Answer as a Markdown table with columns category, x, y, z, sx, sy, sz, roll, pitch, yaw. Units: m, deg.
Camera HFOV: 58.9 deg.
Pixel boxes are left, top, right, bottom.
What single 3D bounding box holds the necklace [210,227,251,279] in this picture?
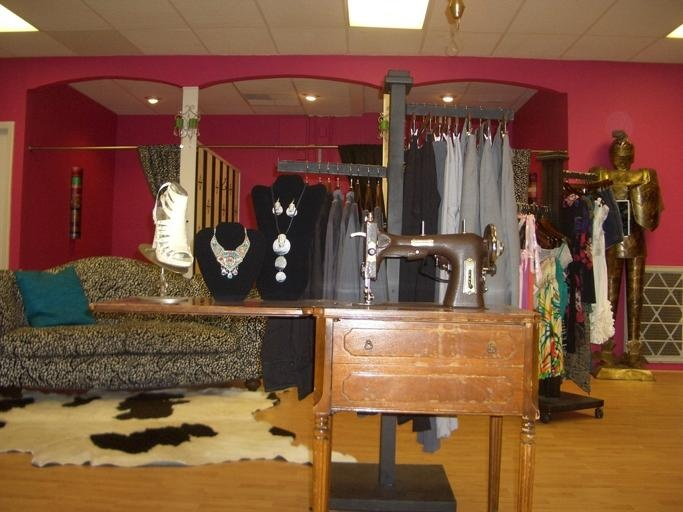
| category | x | y | z | sx | sy | sz | roll | pitch | yaw |
| --- | --- | --- | --- | --- | --- | --- | --- | --- | --- |
| necklace | -0.674 | -0.006 | 3.650 | 0.294 | 0.436 | 0.074 | 1 | -17 | -5 |

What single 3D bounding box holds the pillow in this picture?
| category | x | y | z | sx | sy | sz | roll | pitch | yaw |
| --- | --- | --- | --- | --- | --- | --- | --- | --- | --- |
| pillow | -2.320 | 0.337 | 4.900 | 0.606 | 0.658 | 0.194 | 0 | -28 | -40 |

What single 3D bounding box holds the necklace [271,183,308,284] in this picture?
| category | x | y | z | sx | sy | sz | roll | pitch | yaw |
| --- | --- | --- | --- | --- | --- | --- | --- | --- | --- |
| necklace | -0.327 | -0.145 | 3.756 | 0.220 | 0.582 | 0.217 | 0 | 13 | -7 |

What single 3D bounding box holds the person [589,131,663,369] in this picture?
| category | x | y | z | sx | sy | sz | roll | pitch | yaw |
| --- | --- | --- | --- | --- | --- | --- | --- | --- | --- |
| person | 2.709 | -0.076 | 5.802 | 0.651 | 2.199 | 0.721 | 10 | 15 | 34 |

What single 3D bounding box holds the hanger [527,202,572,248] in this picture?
| category | x | y | z | sx | sy | sz | roll | pitch | yaw |
| --- | --- | --- | --- | --- | --- | --- | --- | --- | --- |
| hanger | 1.551 | -0.224 | 4.571 | 0.293 | 0.381 | 0.099 | -1 | -10 | -19 |
